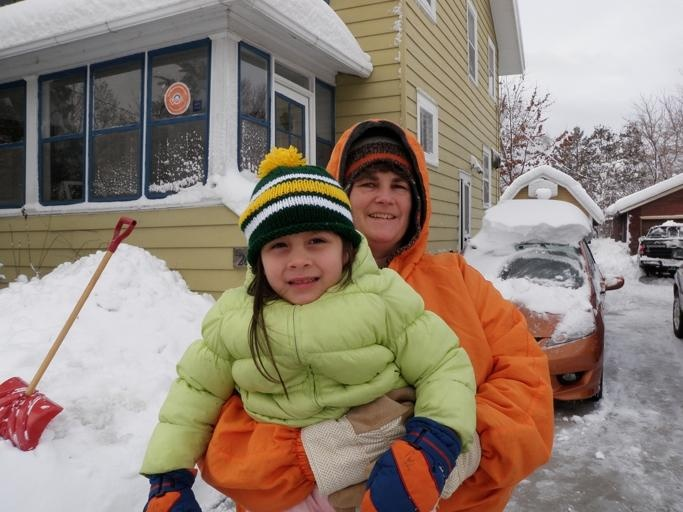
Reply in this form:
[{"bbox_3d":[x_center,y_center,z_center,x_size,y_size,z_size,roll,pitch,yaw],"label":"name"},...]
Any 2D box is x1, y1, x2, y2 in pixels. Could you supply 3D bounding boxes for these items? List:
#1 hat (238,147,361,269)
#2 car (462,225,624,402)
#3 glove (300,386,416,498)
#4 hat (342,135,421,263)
[{"bbox_3d":[-0.284,-0.320,3.723,0.622,0.815,0.765,-19,3,-4],"label":"hat"},{"bbox_3d":[2.079,0.553,5.730,1.577,1.134,3.106,-4,4,20],"label":"car"},{"bbox_3d":[0.078,1.052,3.318,0.576,0.489,0.218,-23,16,-17],"label":"glove"},{"bbox_3d":[0.281,-0.343,3.859,0.513,0.852,0.412,1,-7,-7],"label":"hat"}]
